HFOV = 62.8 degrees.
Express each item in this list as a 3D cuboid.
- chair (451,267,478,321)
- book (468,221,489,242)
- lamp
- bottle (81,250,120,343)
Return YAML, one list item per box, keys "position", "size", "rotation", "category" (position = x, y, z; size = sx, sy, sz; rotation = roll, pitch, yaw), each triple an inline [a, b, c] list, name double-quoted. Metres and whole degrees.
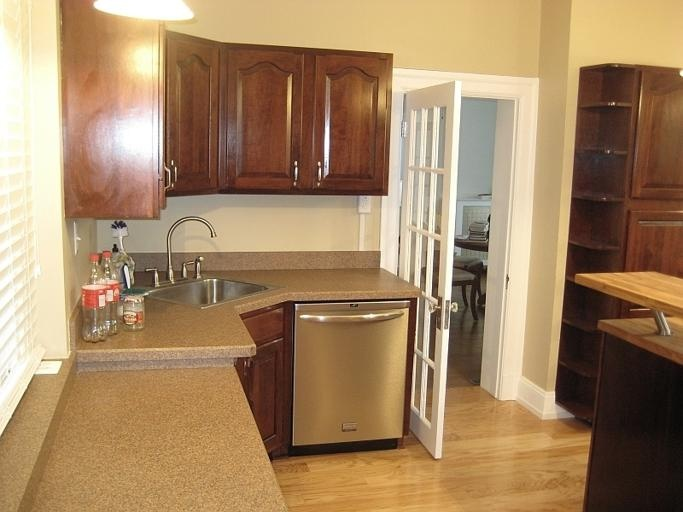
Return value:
- position: [1.533, 0.398, 6.877]
  size: [0.316, 0.599, 1.178]
  rotation: [4, 12, 13]
  category: "chair"
- position: [1.781, -0.319, 7.263]
  size: [0.232, 0.198, 0.325]
  rotation: [1, 6, 7]
  category: "book"
- position: [-0.610, -0.826, 3.085]
  size: [1.573, 0.751, 0.809]
  rotation: [-1, 7, -18]
  category: "lamp"
- position: [-1.085, 0.154, 2.515]
  size: [0.167, 0.387, 0.338]
  rotation: [-5, 14, -23]
  category: "bottle"
